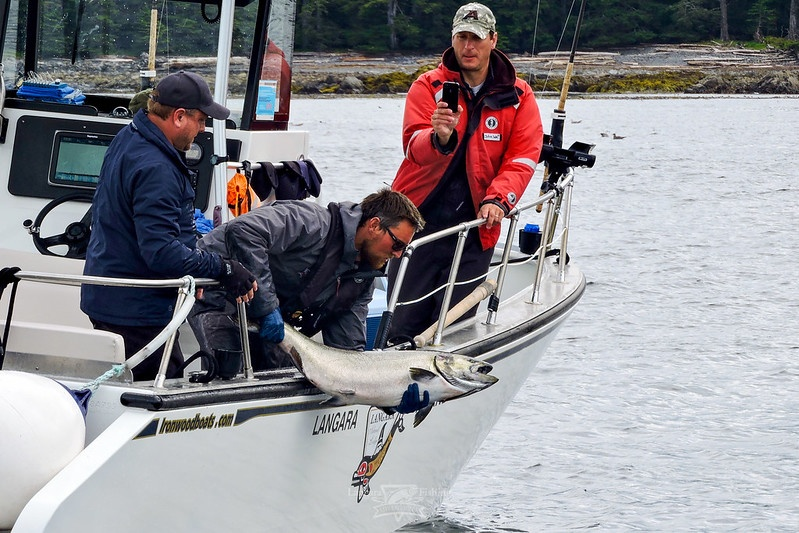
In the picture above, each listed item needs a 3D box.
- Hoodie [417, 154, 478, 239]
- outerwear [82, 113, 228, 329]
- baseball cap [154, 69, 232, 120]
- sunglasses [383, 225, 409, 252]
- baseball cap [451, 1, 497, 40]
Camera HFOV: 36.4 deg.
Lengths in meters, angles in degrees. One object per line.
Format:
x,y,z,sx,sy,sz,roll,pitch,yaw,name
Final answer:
0.356,-0.520,8.952,0.556,0.513,0.182,-26,53,-9,Hoodie
-1.558,-0.350,7.735,0.917,1.202,1.319,0,21,-21,outerwear
-1.277,-1.075,7.492,0.485,0.216,0.289,10,11,-18,baseball cap
-0.038,-0.162,7.639,0.054,0.158,0.158,-36,-18,10,sunglasses
0.531,-1.756,8.790,0.240,0.172,0.320,3,-13,14,baseball cap
